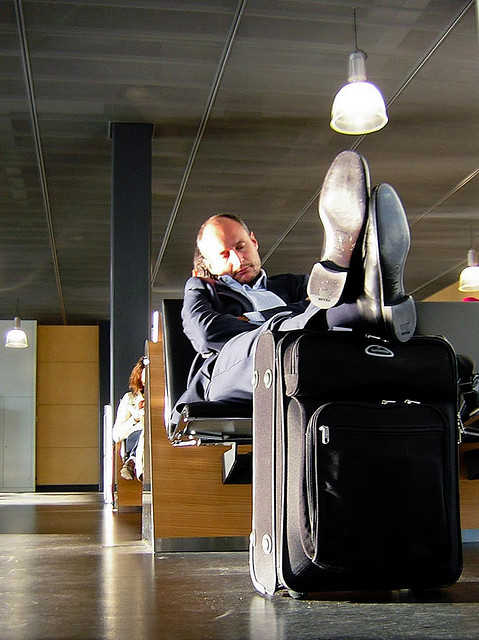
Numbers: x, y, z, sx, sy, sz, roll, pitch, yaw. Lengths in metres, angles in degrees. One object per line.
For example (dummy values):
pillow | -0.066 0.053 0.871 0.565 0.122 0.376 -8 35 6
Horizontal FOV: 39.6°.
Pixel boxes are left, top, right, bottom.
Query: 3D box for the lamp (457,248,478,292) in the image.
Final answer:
lamp | 2.322 -0.516 6.800 0.188 0.447 0.335 -3 -10 16

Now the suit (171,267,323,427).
suit | -0.001 0.069 1.565 0.231 0.361 0.478 10 18 -15

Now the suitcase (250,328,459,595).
suitcase | 0.189 0.239 1.142 0.375 0.476 0.203 -1 -10 8
